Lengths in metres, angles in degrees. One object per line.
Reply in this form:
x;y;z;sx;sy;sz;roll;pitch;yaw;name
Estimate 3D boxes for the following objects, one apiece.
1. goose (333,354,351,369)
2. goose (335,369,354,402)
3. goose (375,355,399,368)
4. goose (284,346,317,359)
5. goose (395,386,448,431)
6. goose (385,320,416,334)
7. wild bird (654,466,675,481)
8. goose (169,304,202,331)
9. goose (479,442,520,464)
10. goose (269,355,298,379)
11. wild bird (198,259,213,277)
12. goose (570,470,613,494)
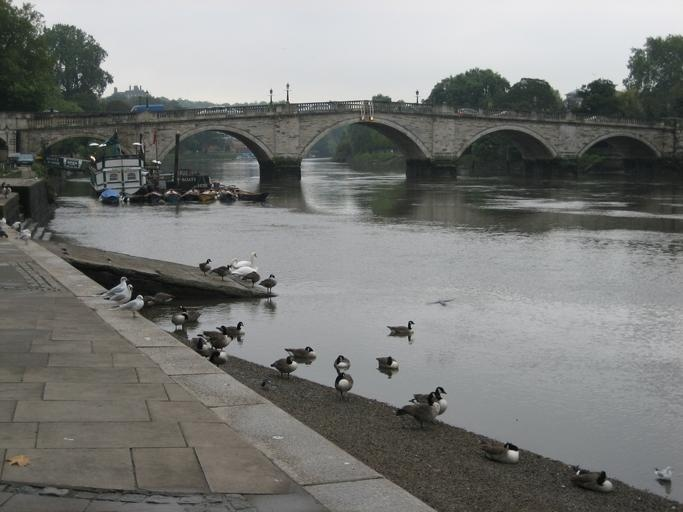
0.013;1.721;14.019;0.193;0.176;0.264;-1;-6;1;goose
0.037;1.946;13.092;0.245;0.378;0.454;9;12;5;goose
0.785;1.762;14.448;0.316;0.211;0.183;26;27;32;goose
-0.700;1.639;14.774;0.468;0.250;0.213;7;3;5;goose
1.172;2.122;12.058;0.725;0.440;0.374;-3;6;-12;goose
1.154;1.340;16.679;0.504;0.296;0.685;8;11;4;goose
4.034;2.699;10.864;0.147;0.174;0.247;-5;13;-17;wild bird
-3.000;1.213;16.801;0.336;0.483;0.812;0;-1;-26;goose
2.002;2.486;11.003;0.398;0.161;0.270;-1;-1;40;goose
-0.938;1.753;13.918;0.253;0.310;0.489;-8;16;-40;goose
-3.183;0.272;20.653;0.513;0.362;0.280;-6;-2;44;wild bird
3.026;2.718;10.525;0.459;0.199;0.260;2;5;43;goose
